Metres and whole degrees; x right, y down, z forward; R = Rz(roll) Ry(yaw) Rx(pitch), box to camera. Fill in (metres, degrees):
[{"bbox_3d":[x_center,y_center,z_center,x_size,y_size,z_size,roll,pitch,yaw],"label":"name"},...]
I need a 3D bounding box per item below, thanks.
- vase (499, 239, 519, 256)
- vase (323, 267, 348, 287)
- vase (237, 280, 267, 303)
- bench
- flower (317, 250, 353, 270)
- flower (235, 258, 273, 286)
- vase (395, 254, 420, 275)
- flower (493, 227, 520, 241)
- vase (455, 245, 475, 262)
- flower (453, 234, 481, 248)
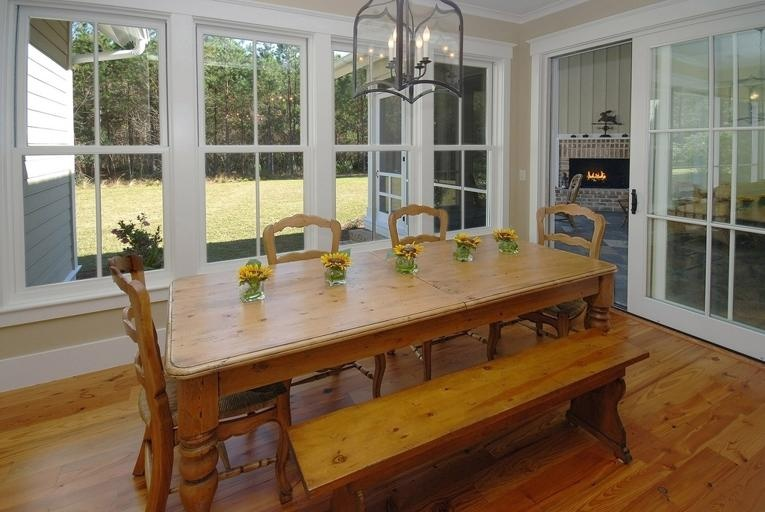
[{"bbox_3d":[0.981,-0.055,4.052,0.150,0.131,0.096,2,4,29],"label":"vase"},{"bbox_3d":[-0.306,0.143,3.483,0.130,0.115,0.126,4,-2,-43],"label":"vase"},{"bbox_3d":[-0.806,0.200,3.281,0.180,0.159,0.126,-4,8,-33],"label":"vase"},{"bbox_3d":[0.577,1.058,3.112,2.190,0.711,0.518,-8,15,-22],"label":"bench"},{"bbox_3d":[-0.326,0.024,3.442,0.164,0.065,0.159,6,9,35],"label":"flower"},{"bbox_3d":[-0.803,0.097,3.275,0.190,0.148,0.184,2,4,16],"label":"flower"},{"bbox_3d":[0.173,0.054,3.666,0.146,0.147,0.138,0,0,6],"label":"vase"},{"bbox_3d":[0.975,-0.167,4.151,0.179,0.099,0.169,0,3,-35],"label":"flower"},{"bbox_3d":[0.603,-0.012,3.923,0.145,0.129,0.102,1,2,-39],"label":"vase"},{"bbox_3d":[0.605,-0.120,3.890,0.145,0.056,0.139,-2,8,-27],"label":"flower"}]
